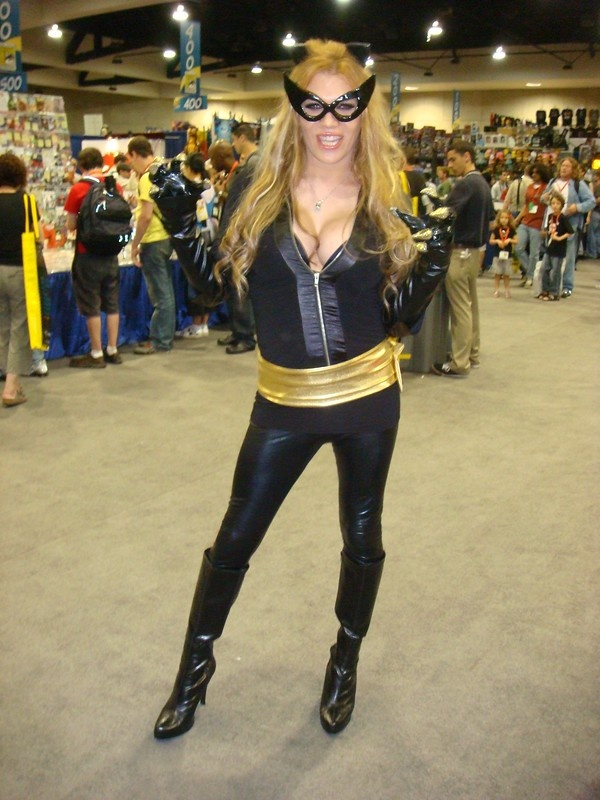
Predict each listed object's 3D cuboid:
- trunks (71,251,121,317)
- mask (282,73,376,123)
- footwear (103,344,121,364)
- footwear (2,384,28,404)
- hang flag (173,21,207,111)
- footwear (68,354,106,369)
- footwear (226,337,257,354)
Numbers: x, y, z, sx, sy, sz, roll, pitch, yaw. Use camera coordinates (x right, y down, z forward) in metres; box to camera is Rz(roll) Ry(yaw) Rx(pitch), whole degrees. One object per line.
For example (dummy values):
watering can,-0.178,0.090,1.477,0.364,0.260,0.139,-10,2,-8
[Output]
trunks,-1.637,-0.909,4.782,0.255,0.679,0.393,24,31,31
mask,0.051,-0.517,1.008,0.155,0.086,0.062,2,12,4
footwear,-1.578,-0.391,4.944,0.076,0.087,0.207,-7,31,-22
footwear,-1.868,-0.037,3.877,0.069,0.073,0.191,6,17,-10
hang flag,-1.958,-6.037,10.480,0.613,1.589,0.008,-26,49,-34
footwear,-1.716,-0.307,4.749,0.287,0.127,0.117,4,21,-10
footwear,-0.549,-0.490,5.317,0.318,0.119,0.114,-9,38,-31
